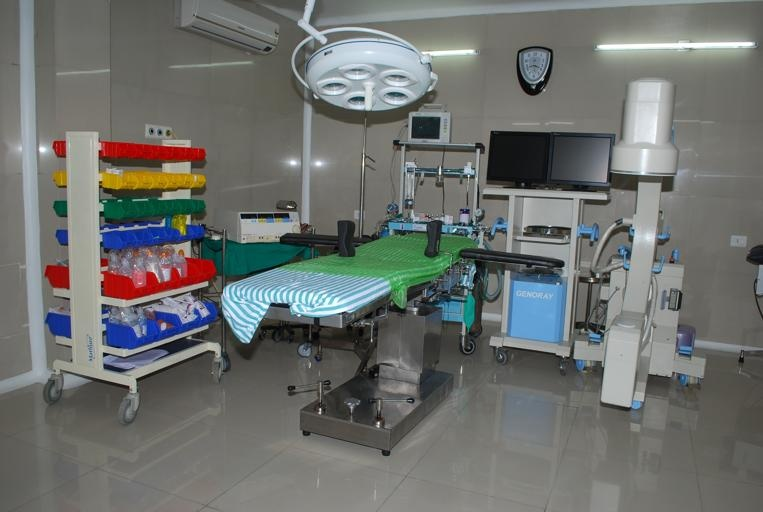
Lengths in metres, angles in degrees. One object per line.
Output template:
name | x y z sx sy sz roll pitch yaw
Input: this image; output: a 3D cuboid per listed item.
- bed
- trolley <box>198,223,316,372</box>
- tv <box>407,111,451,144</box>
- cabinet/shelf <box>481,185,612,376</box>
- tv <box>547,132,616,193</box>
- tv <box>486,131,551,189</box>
bed | -0.156 0.650 4.883 1.120 1.344 2.358 3 5 26
trolley | -1.233 0.217 6.264 1.098 0.986 0.910 -4 5 -19
tv | 0.554 -1.449 6.680 0.642 0.452 0.349 2 8 16
cabinet/shelf | 1.701 0.181 6.058 0.988 1.785 1.092 4 11 19
tv | 2.022 -0.962 5.830 0.622 0.610 0.219 6 2 12
tv | 1.462 -1.023 6.069 0.696 0.670 0.250 2 1 19
